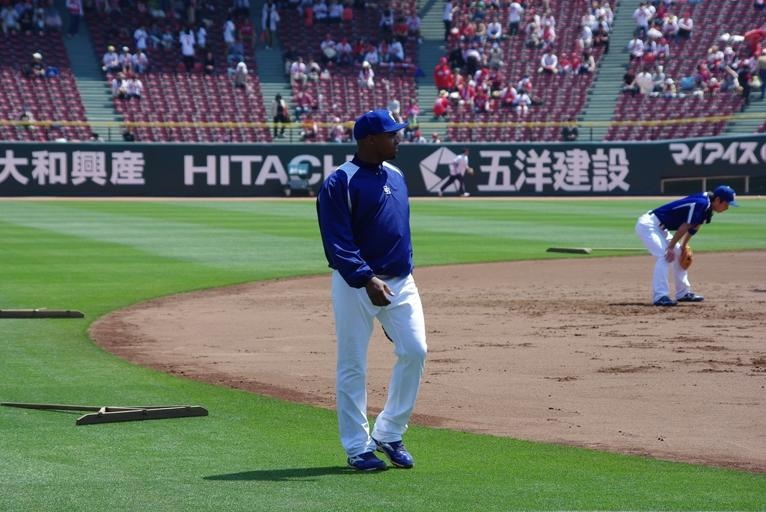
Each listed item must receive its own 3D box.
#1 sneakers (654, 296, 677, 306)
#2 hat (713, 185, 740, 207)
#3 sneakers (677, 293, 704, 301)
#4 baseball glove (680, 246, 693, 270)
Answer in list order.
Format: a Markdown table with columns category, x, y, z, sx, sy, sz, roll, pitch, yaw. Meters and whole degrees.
| category | x | y | z | sx | sy | sz | roll | pitch | yaw |
| --- | --- | --- | --- | --- | --- | --- | --- | --- | --- |
| sneakers | 6.930 | 1.110 | 41.810 | 0.499 | 0.155 | 0.225 | -1 | 3 | 9 |
| hat | 8.426 | -1.487 | 41.729 | 0.463 | 0.528 | 0.985 | 7 | 12 | 24 |
| sneakers | 7.610 | 1.007 | 42.193 | 0.779 | 0.241 | 0.237 | -1 | 2 | -2 |
| baseball glove | 7.464 | 0.030 | 41.865 | 0.280 | 0.460 | 0.414 | -13 | 4 | 18 |
